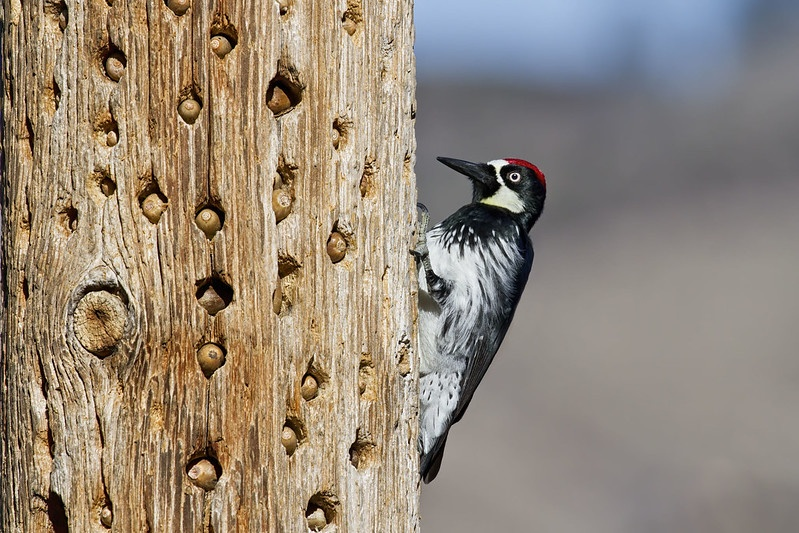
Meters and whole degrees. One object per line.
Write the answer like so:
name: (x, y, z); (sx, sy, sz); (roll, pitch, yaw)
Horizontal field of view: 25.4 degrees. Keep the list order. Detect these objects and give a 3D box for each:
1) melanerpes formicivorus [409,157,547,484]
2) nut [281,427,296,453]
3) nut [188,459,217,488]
melanerpes formicivorus: (0.248, 0.182, 6.406); (0.379, 1.120, 1.207); (5, -2, 11)
nut: (-0.322, 0.498, 5.088); (0.022, 0.084, 0.070); (4, -2, 39)
nut: (-0.563, 0.586, 4.991); (0.086, 0.081, 0.022); (6, -1, -7)
